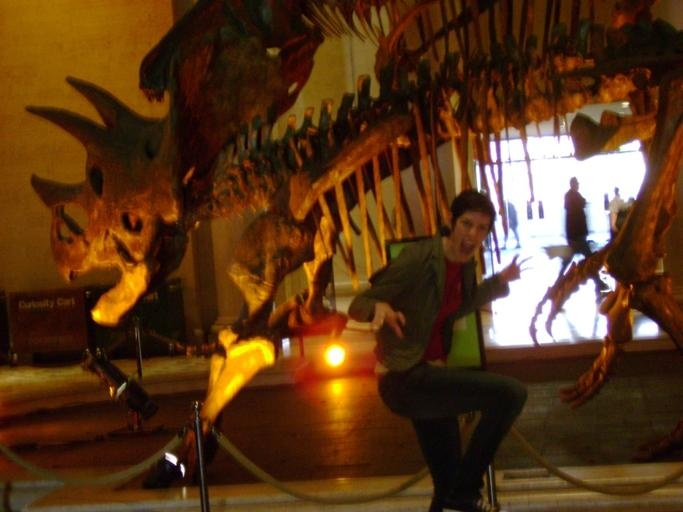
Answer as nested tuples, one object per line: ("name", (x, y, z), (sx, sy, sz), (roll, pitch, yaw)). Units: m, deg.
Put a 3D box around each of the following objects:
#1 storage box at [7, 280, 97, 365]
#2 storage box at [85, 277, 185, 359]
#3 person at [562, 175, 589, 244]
("storage box", (-3.772, 0.929, 8.236), (1.121, 1.099, 0.390), (-1, 3, 9))
("storage box", (-2.409, 0.786, 7.349), (1.065, 0.946, 0.589), (-2, 4, -13))
("person", (3.007, -0.573, 8.194), (0.248, 0.879, 0.389), (-4, -1, 18))
